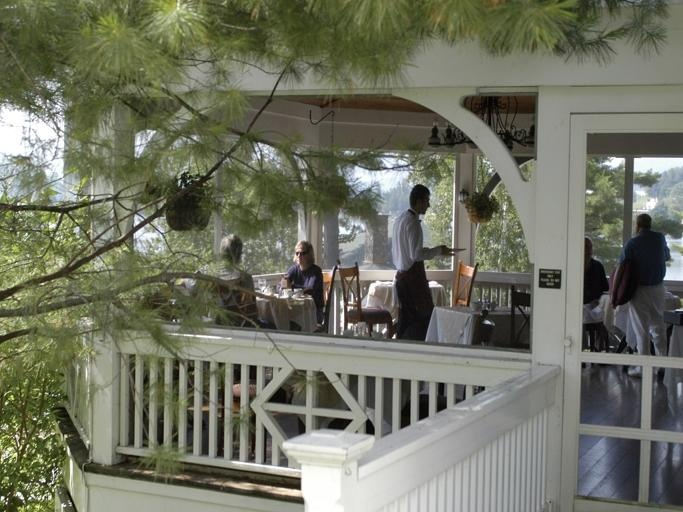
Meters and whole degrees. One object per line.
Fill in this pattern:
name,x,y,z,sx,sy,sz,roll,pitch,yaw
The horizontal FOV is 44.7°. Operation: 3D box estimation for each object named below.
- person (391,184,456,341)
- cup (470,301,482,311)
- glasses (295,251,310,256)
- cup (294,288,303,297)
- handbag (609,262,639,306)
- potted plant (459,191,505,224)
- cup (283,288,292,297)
person,0.691,0.181,7.300,0.465,1.622,0.486,-8,11,-26
cup,1.130,0.428,6.995,0.069,0.063,0.070,1,8,0
glasses,-0.402,-0.011,7.912,0.174,0.045,0.095,-3,-4,35
cup,-0.419,0.354,7.785,0.059,0.057,0.064,0,0,0
handbag,1.661,0.169,4.895,0.188,0.295,0.108,-2,12,-37
potted plant,1.438,-0.505,8.646,0.326,0.308,0.296,-1,-3,14
cup,-0.516,0.353,7.813,0.079,0.071,0.061,7,-8,-40
